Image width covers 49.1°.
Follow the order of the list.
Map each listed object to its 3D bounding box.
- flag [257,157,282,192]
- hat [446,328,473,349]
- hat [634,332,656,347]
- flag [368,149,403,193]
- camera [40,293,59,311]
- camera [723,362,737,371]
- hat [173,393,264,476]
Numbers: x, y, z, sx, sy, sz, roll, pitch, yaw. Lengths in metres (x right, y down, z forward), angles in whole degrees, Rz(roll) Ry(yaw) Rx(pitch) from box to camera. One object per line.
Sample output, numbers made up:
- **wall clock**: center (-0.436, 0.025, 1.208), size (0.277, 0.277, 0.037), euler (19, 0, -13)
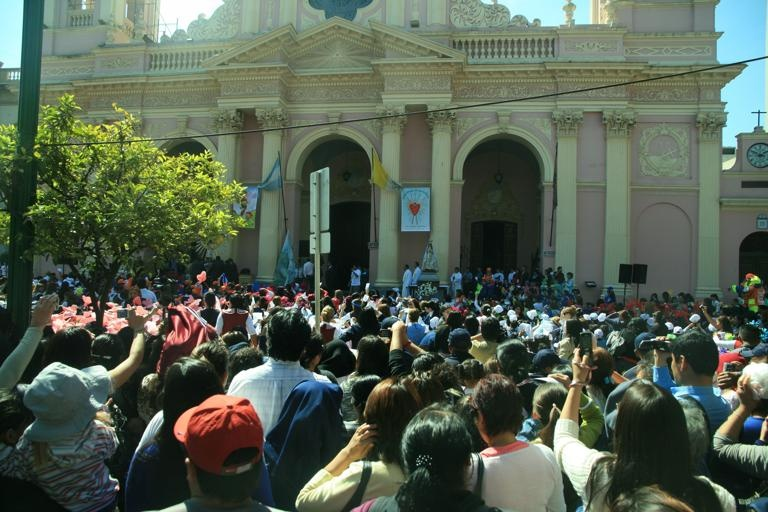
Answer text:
- **flag**: center (-4.766, -3.364, 34.918), size (1.323, 1.898, 0.220), euler (3, 4, 12)
- **hat**: center (1.433, 1.586, 16.215), size (0.266, 0.205, 0.450), euler (17, -36, 20)
- **hat**: center (4.830, 1.509, 15.597), size (0.394, 0.306, 0.662), euler (-6, -4, 29)
- **flag**: center (0.101, -3.475, 34.053), size (0.202, 1.403, 1.453), euler (-19, -37, 29)
- **camera**: center (-5.563, 0.785, 13.836), size (0.292, 0.343, 0.239), euler (3, -3, -21)
- **camera**: center (5.655, 1.799, 13.732), size (0.182, 0.127, 0.388), euler (1, -3, 25)
- **hat**: center (-2.420, 2.493, 12.067), size (0.879, 0.714, 1.179), euler (-11, 37, -43)
